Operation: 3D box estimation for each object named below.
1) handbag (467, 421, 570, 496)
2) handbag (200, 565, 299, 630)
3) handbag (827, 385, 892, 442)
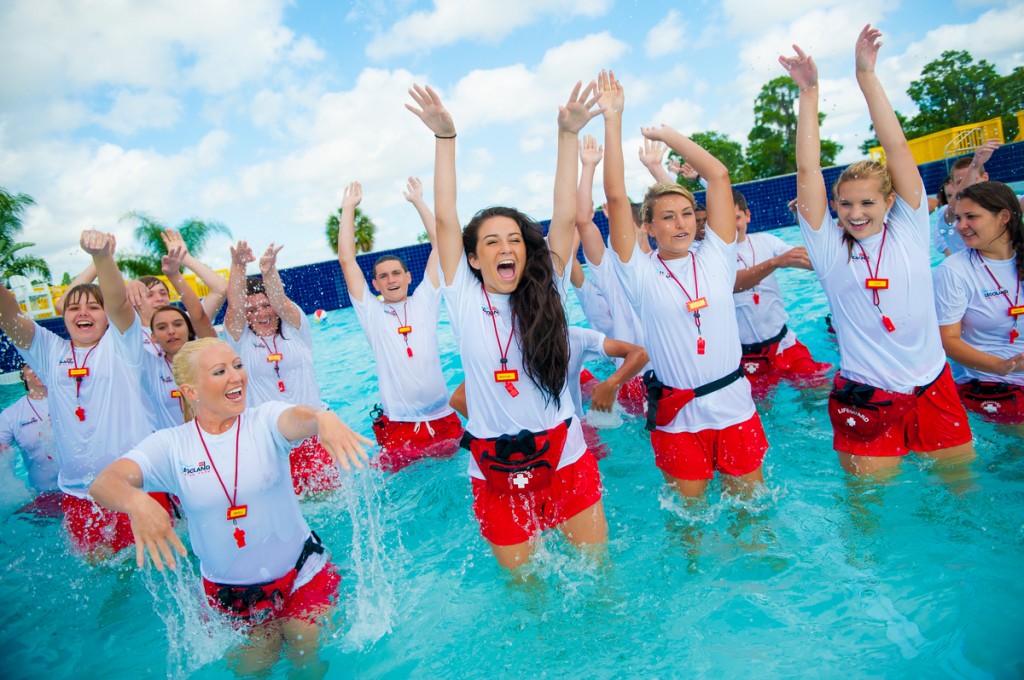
[{"bbox_3d":[0.125,0.914,5.099,0.890,0.467,0.956,-10,1,23],"label":"handbag"},{"bbox_3d":[-1.910,1.934,5.012,0.733,0.419,0.958,-3,-14,8],"label":"handbag"},{"bbox_3d":[2.803,0.514,5.314,0.333,0.450,0.457,21,25,30],"label":"handbag"}]
